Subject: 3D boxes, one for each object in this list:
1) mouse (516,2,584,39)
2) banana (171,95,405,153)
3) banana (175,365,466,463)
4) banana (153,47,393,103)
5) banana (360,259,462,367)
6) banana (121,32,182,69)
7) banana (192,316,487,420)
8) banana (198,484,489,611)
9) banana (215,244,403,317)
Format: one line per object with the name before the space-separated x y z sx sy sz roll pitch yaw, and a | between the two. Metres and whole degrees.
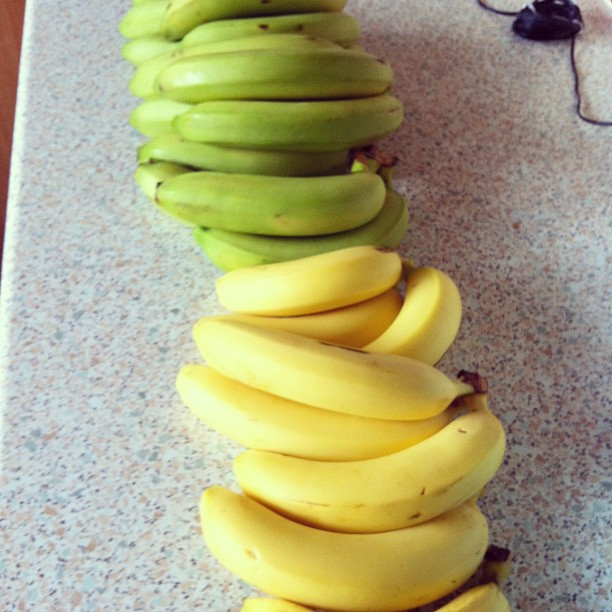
mouse | 0.442 -0.524 1.441 0.128 0.026 0.048 1 82 1
banana | -0.022 -0.243 1.067 0.183 0.123 0.038 -6 101 -1
banana | -0.002 0.141 1.000 0.447 0.099 0.104 6 66 6
banana | -0.043 -0.309 1.068 0.382 0.078 0.068 -9 109 -28
banana | 0.124 -0.012 1.025 0.059 0.187 0.147 40 58 19
banana | -0.253 -0.412 1.290 0.108 0.146 0.038 -2 87 -6
banana | 0.035 0.086 0.954 0.378 0.089 0.077 13 75 -19
banana | 0.039 0.284 0.924 0.346 0.057 0.137 4 57 -1
banana | 0.009 -0.027 1.014 0.229 0.080 0.073 -4 62 -6
